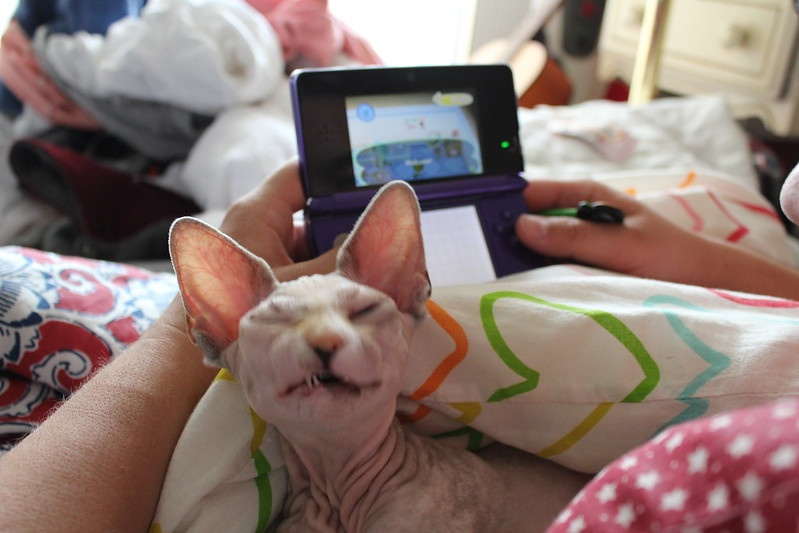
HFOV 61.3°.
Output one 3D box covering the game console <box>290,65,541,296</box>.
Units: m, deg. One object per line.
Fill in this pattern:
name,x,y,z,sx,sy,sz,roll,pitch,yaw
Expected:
game console,0.010,-0.182,1.123,0.367,0.270,0.374,-8,62,-11
